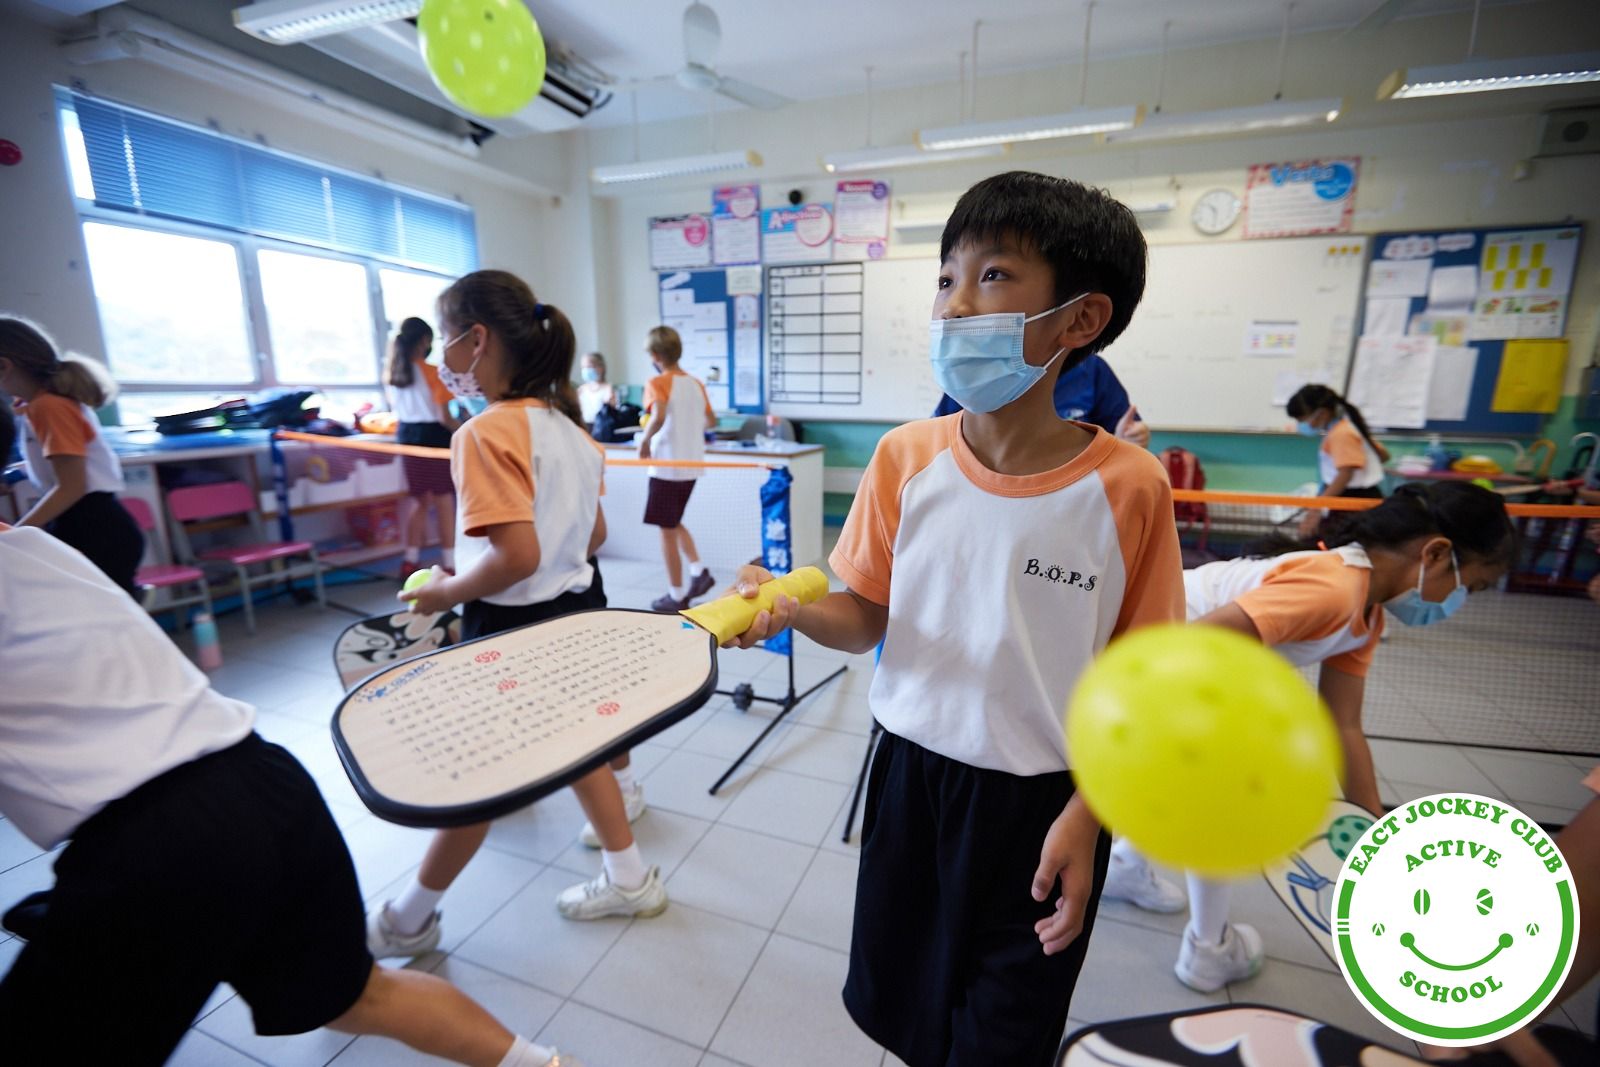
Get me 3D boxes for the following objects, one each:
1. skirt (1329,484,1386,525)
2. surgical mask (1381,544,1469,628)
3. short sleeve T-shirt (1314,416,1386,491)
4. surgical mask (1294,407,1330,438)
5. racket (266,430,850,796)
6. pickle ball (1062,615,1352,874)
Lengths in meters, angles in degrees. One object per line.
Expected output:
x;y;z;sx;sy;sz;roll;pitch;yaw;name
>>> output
2.423;-0.131;4.261;0.143;0.229;0.220;15;12;27;skirt
2.232;0.212;3.504;0.253;0.295;0.287;-9;0;38;surgical mask
3.124;-0.450;5.537;0.258;0.365;0.417;-14;23;18;short sleeve T-shirt
2.941;-0.649;5.600;0.170;0.198;0.171;-2;-23;26;surgical mask
-0.697;-0.205;5.697;1.676;3.394;1.439;-1;10;-8;racket
1.067;0.582;2.602;0.663;0.632;0.285;5;18;21;pickle ball
